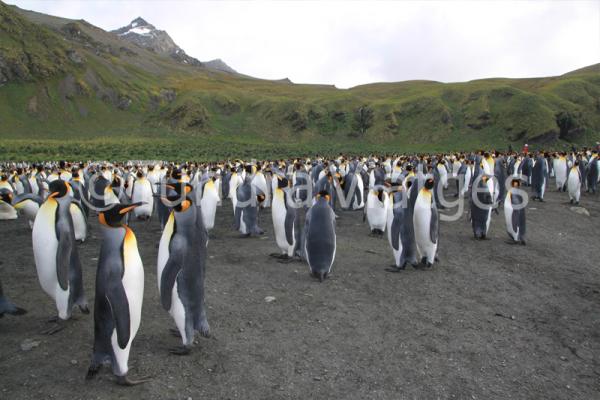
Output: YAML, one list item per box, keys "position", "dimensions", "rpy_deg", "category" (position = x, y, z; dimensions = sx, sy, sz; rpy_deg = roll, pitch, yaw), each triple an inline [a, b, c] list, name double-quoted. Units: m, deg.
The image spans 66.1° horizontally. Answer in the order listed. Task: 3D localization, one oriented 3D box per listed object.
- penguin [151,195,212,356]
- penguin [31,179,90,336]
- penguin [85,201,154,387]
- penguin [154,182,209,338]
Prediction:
- position: [-1.964, 1.211, 7.846]
  dimensions: [1.003, 2.440, 1.032]
  rpy_deg: [2, 0, -1]
  category: "penguin"
- position: [-4.262, 0.983, 8.246]
  dimensions: [1.135, 2.457, 1.192]
  rpy_deg: [7, 2, -7]
  category: "penguin"
- position: [-2.682, 1.411, 7.374]
  dimensions: [0.863, 2.872, 1.281]
  rpy_deg: [-2, 8, -13]
  category: "penguin"
- position: [-1.910, 1.031, 7.802]
  dimensions: [0.880, 2.607, 0.939]
  rpy_deg: [2, -1, -4]
  category: "penguin"
